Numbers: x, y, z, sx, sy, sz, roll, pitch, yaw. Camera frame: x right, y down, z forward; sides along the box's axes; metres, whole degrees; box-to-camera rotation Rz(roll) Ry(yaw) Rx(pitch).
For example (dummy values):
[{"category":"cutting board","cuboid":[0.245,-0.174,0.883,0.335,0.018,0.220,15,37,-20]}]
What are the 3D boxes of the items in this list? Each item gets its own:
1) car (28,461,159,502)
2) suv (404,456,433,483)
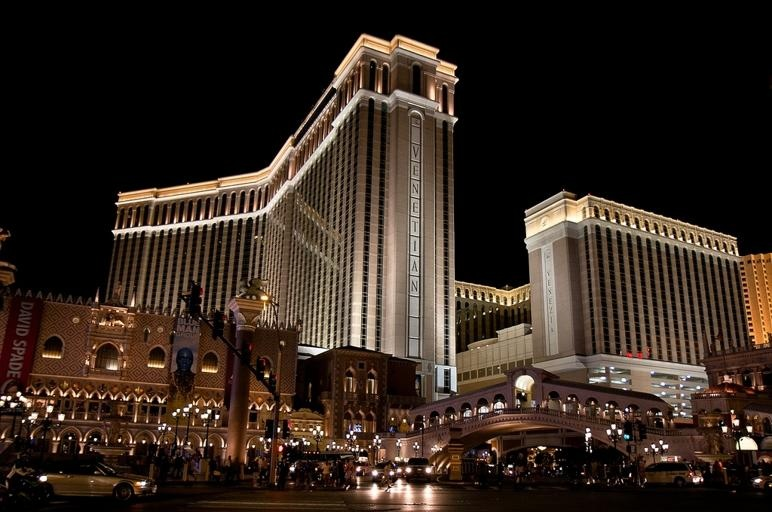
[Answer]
[{"category":"car","cuboid":[-19.568,15.225,47.609,6.561,1.747,2.798,2,-9,-11]},{"category":"suv","cuboid":[3.437,21.870,72.181,2.659,2.516,1.993,3,-24,-6]}]
